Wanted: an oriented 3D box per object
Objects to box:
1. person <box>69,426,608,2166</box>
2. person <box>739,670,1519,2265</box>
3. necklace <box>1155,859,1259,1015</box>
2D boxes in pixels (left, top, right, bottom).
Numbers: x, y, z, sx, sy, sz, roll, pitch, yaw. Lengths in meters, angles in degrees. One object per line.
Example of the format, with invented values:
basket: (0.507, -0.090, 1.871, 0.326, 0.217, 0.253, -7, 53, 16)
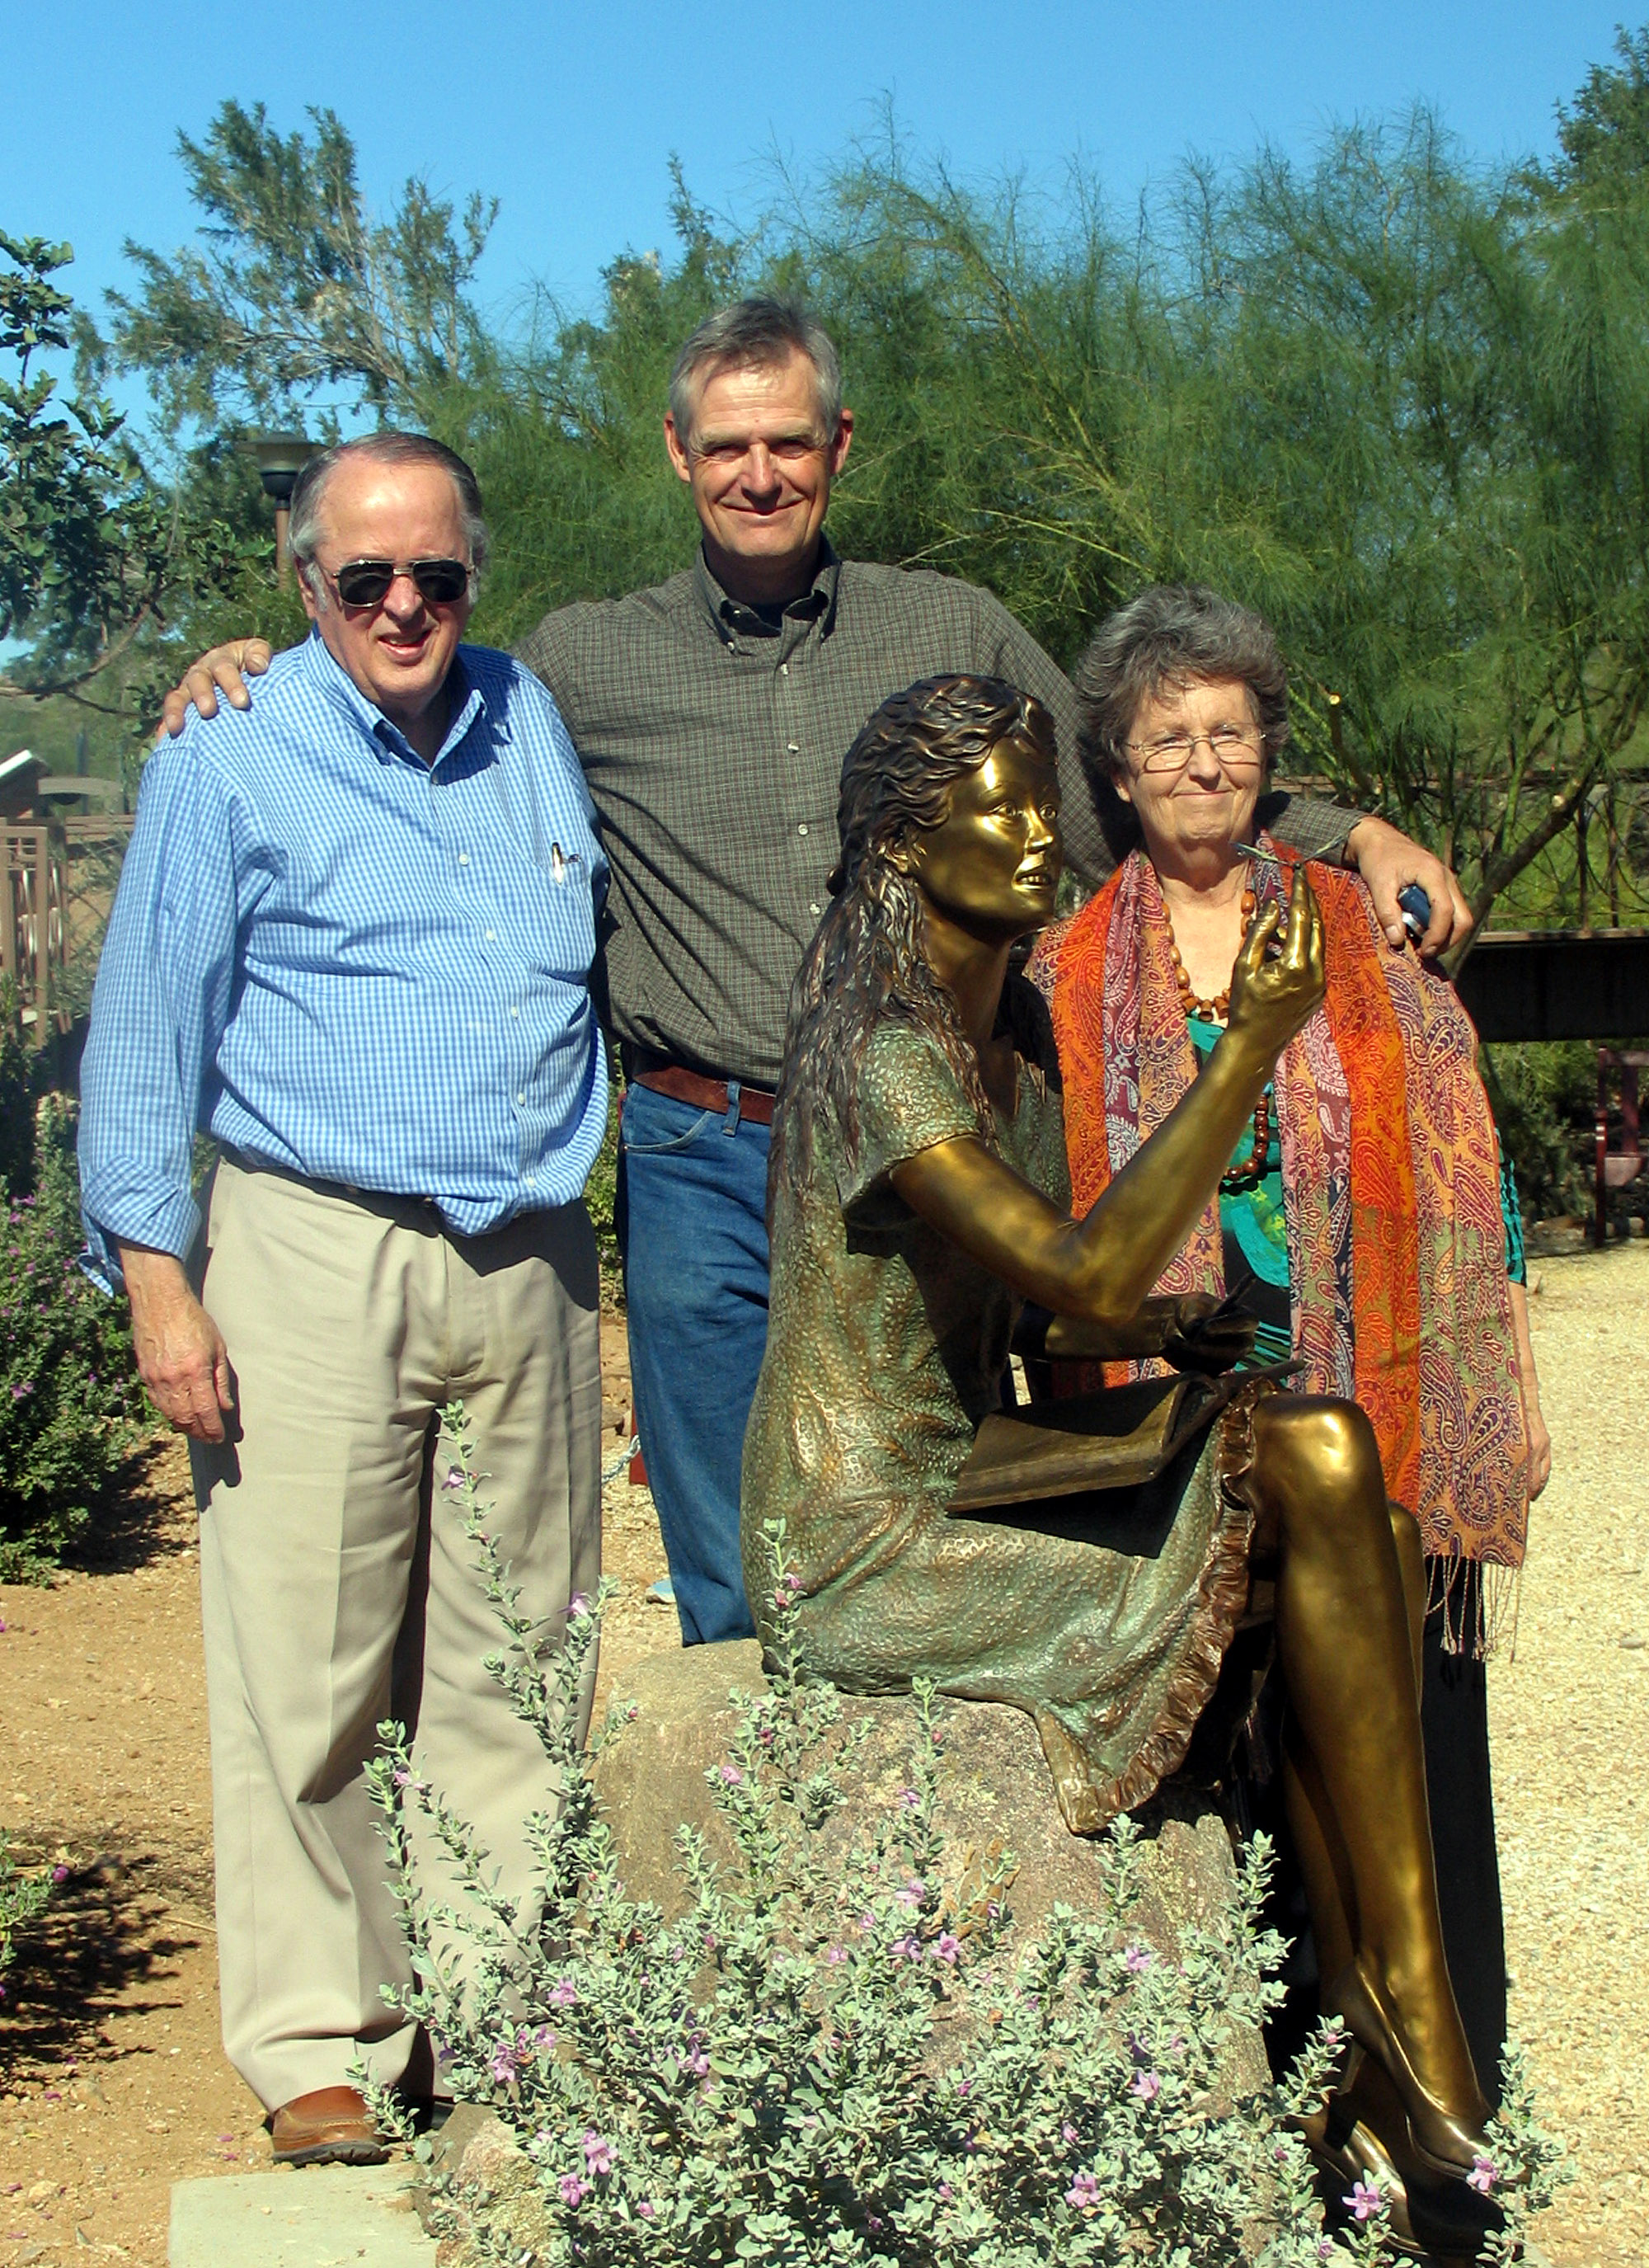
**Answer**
person: (-0.642, 0.207, 3.536, 0.796, 2.351, 0.433, 2, 1, -21)
person: (0.302, 0.334, 2.755, 0.876, 1.229, 0.410, 3, 1, 44)
necklace: (0.527, -0.289, 3.573, 0.177, 0.227, 0.073, -3, -8, 13)
